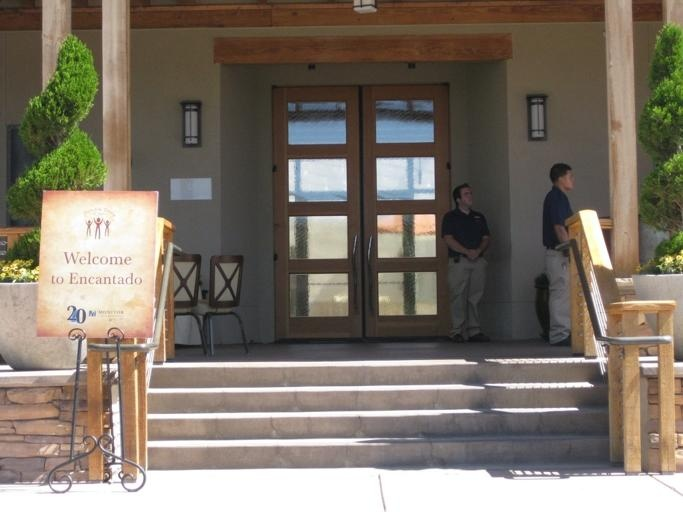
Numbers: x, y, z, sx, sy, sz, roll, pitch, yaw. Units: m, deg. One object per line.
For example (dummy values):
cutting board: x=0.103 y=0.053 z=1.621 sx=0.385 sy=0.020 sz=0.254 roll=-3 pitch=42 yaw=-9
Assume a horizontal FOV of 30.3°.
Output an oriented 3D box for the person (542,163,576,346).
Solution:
person: x=2.028 y=-0.026 z=11.774 sx=0.279 sy=1.709 sz=0.512 roll=-2 pitch=-3 yaw=10

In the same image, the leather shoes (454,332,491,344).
leather shoes: x=1.288 y=0.830 z=12.608 sx=0.374 sy=0.163 sz=0.130 roll=-6 pitch=-6 yaw=21

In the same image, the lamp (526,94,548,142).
lamp: x=2.015 y=-1.425 z=12.980 sx=0.210 sy=0.473 sz=0.053 roll=-1 pitch=-3 yaw=1

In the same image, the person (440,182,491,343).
person: x=1.264 y=0.059 z=12.851 sx=0.486 sy=1.590 sz=0.410 roll=-2 pitch=-3 yaw=6

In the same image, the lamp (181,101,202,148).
lamp: x=-1.549 y=-1.361 z=12.994 sx=0.192 sy=0.469 sz=0.053 roll=-1 pitch=-3 yaw=-13
